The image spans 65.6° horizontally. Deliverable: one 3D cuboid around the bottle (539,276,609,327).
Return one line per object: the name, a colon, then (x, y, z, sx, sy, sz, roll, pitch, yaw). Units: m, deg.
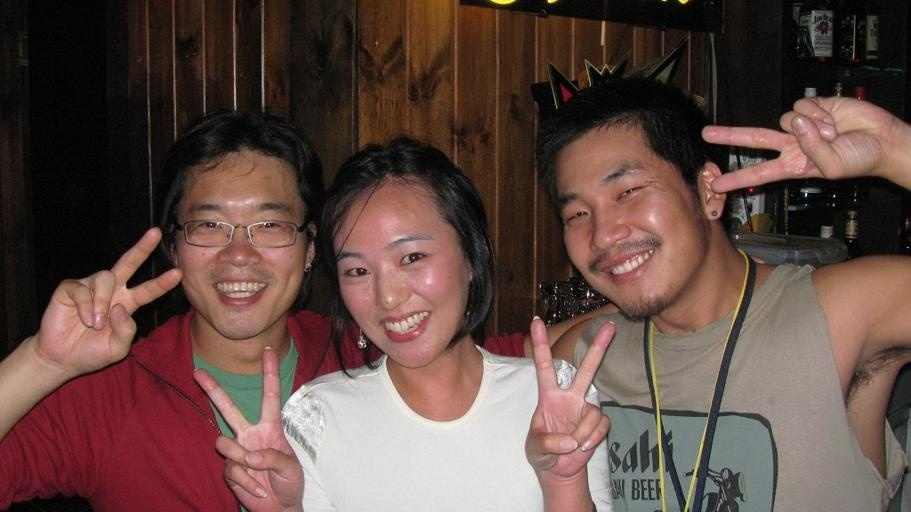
bottle: (0.791, 0.286, 4.949, 0.435, 0.243, 0.438, -8, 4, 1)

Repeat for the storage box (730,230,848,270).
storage box: (2.429, -0.043, 5.083, 0.667, 0.209, 0.720, 0, -1, -38)
